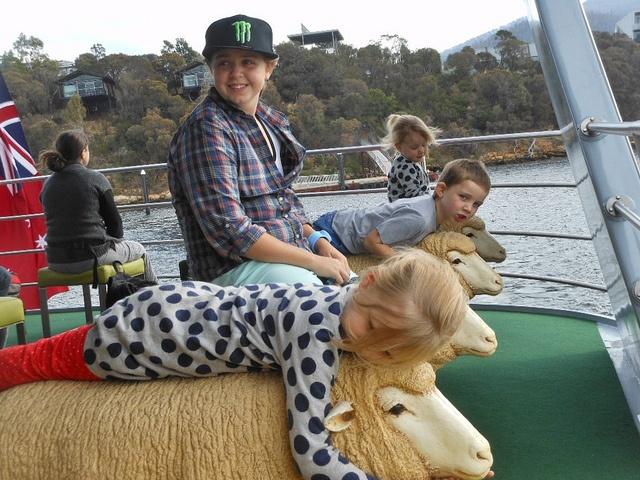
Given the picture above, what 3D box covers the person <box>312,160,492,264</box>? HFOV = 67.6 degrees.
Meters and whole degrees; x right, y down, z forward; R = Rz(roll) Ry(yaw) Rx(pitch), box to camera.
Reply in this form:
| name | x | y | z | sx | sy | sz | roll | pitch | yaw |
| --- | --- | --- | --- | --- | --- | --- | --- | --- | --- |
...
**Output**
| name | x | y | z | sx | sy | sz | roll | pitch | yaw |
| --- | --- | --- | --- | --- | --- | --- | --- | --- | --- |
| person | 0.369 | -0.183 | 2.237 | 0.897 | 0.516 | 0.379 | 6 | 17 | 3 |
